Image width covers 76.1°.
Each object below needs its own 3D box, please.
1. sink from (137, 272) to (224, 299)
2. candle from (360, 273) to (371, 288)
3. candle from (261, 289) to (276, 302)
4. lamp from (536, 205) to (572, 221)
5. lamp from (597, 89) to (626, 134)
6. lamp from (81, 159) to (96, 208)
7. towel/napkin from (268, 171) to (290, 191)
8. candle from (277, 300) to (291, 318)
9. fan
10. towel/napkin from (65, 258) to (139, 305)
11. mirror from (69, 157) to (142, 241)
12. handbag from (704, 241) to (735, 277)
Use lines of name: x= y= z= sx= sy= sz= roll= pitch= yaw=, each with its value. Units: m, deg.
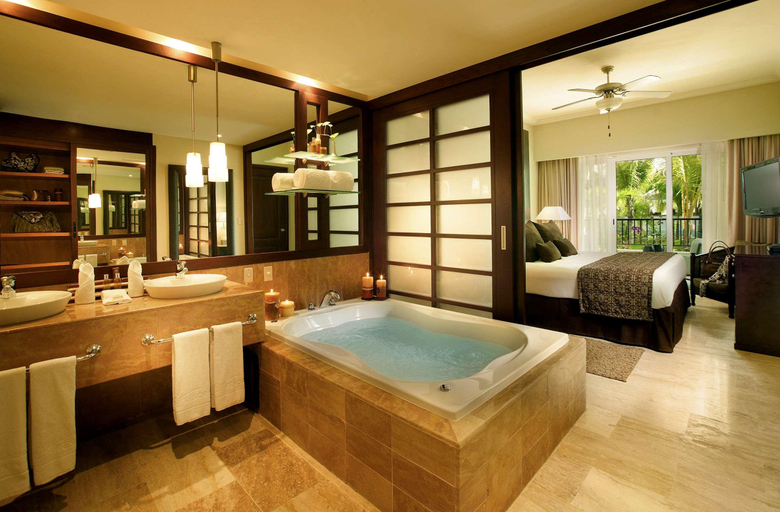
sink: x=-1.738 y=0.241 z=4.124 sx=0.621 sy=0.168 sz=0.495 roll=-6 pitch=7 yaw=-25
candle: x=-0.280 y=0.278 z=5.452 sx=0.128 sy=0.142 sz=0.127 roll=1 pitch=-1 yaw=-14
candle: x=-1.135 y=0.374 z=4.666 sx=0.113 sy=0.068 sz=0.112 roll=2 pitch=1 yaw=-29
lamp: x=2.556 y=-0.655 z=7.688 sx=0.392 sy=0.370 sz=0.395 roll=3 pitch=7 yaw=37
lamp: x=3.136 y=-2.054 z=7.008 sx=0.475 sy=0.562 sz=0.476 roll=-1 pitch=4 yaw=3
lamp: x=-2.481 y=-0.600 z=4.064 sx=0.106 sy=0.418 sz=0.050 roll=-8 pitch=8 yaw=-33
towel/napkin: x=-1.057 y=-0.714 z=4.783 sx=0.210 sy=0.177 sz=0.169 roll=-4 pitch=12 yaw=-42
candle: x=-1.006 y=0.519 z=4.759 sx=0.133 sy=0.133 sz=0.134 roll=-2 pitch=-3 yaw=45
fan: x=2.797 y=-2.029 z=6.076 sx=0.955 sy=0.426 sz=0.944 roll=2 pitch=-8 yaw=-13
towel/napkin: x=-2.261 y=0.196 z=3.913 sx=0.483 sy=0.314 sz=0.445 roll=-6 pitch=7 yaw=-23
mirror: x=-2.385 y=-0.481 z=4.114 sx=0.048 sy=0.444 sz=0.638 roll=5 pitch=16 yaw=42
handbag: x=4.230 y=0.044 z=6.375 sx=0.273 sy=0.501 sz=0.451 roll=-4 pitch=7 yaw=-37
